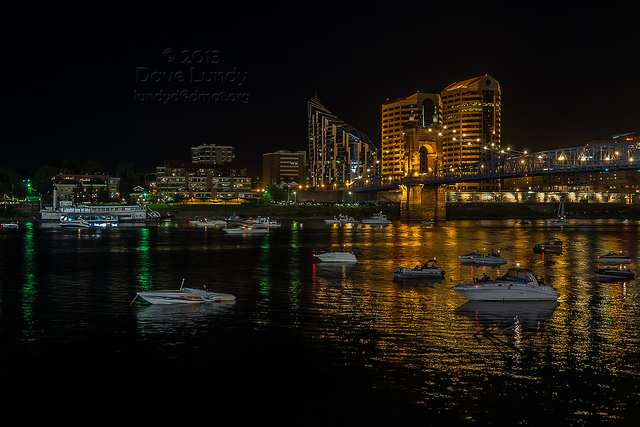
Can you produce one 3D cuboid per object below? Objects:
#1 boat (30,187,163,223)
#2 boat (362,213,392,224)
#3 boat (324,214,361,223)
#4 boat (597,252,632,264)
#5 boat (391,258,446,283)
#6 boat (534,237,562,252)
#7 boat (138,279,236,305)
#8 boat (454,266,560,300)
[{"bbox_3d":[-41.669,-0.194,143.662,31.056,7.366,5.626,1,-29,20],"label":"boat"},{"bbox_3d":[11.380,1.016,144.933,4.367,1.337,2.192,-1,2,-6],"label":"boat"},{"bbox_3d":[4.691,0.737,147.666,7.712,2.026,2.312,2,-1,-3],"label":"boat"},{"bbox_3d":[29.971,4.520,72.927,4.301,1.445,1.233,1,-1,12],"label":"boat"},{"bbox_3d":[8.877,5.238,63.687,4.123,1.469,2.188,0,-2,-15],"label":"boat"},{"bbox_3d":[26.856,3.793,85.863,3.200,1.091,2.104,1,-2,-9],"label":"boat"},{"bbox_3d":[-8.870,6.143,54.845,8.612,2.402,2.067,3,-7,-12],"label":"boat"},{"bbox_3d":[13.926,5.293,54.924,8.174,2.201,2.325,-1,-1,9],"label":"boat"}]
